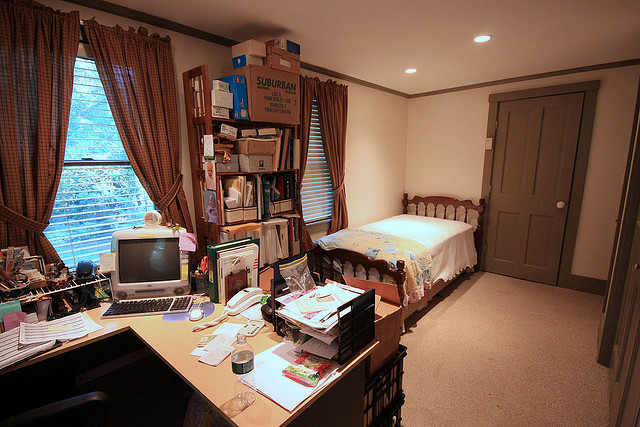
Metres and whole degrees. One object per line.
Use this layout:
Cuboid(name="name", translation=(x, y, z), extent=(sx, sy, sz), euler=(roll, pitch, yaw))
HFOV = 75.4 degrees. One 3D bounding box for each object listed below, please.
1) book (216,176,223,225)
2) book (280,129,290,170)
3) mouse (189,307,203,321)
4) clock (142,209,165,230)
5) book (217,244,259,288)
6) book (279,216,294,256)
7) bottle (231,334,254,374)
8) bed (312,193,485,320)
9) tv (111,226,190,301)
Cuboid(name="book", translation=(-1.012, -0.127, 4.156), extent=(0.051, 0.490, 0.024), euler=(-7, 14, -32))
Cuboid(name="book", translation=(-0.396, -0.702, 4.568), extent=(0.028, 0.433, 0.130), euler=(9, 15, 36))
Cuboid(name="mouse", translation=(-1.095, 0.871, 3.638), extent=(0.113, 0.068, 0.174), euler=(-3, 12, -16))
Cuboid(name="clock", translation=(-1.602, 0.064, 3.981), extent=(0.187, 0.160, 0.059), euler=(1, 9, 3))
Cuboid(name="book", translation=(-0.776, 0.473, 3.788), extent=(0.066, 0.480, 0.373), euler=(5, 8, 42))
Cuboid(name="book", translation=(-0.364, 0.254, 4.685), extent=(0.146, 0.451, 0.100), euler=(-8, 14, -35))
Cuboid(name="bottle", translation=(-0.594, 1.084, 3.203), extent=(0.228, 0.326, 0.230), euler=(-1, -6, 0))
Cuboid(name="bed", translation=(1.148, 0.405, 5.610), extent=(2.343, 1.034, 1.490), euler=(-13, 17, -43))
Cuboid(name="tv", translation=(-1.630, 0.595, 4.003), extent=(0.785, 0.578, 0.676), euler=(1, 55, -24))
